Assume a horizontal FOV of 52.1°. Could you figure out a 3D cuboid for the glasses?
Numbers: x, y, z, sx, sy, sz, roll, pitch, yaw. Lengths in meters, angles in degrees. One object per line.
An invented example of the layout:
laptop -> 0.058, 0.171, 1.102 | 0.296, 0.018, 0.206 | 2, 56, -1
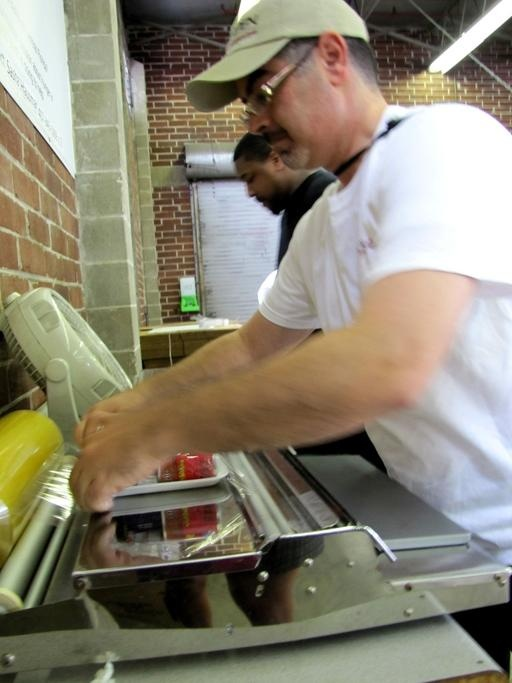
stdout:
glasses -> 0.022, -0.375, 0.782 | 0.088, 0.026, 0.085 | -47, 26, -17
